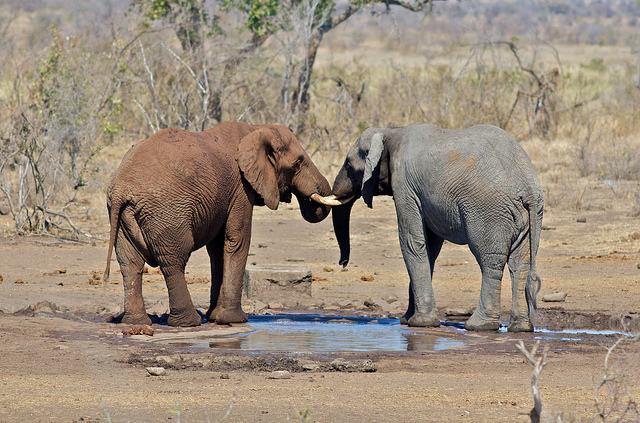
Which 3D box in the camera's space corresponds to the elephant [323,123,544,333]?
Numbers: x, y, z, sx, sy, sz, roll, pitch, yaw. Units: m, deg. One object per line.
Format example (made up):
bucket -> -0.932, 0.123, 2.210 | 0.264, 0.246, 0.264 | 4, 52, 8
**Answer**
elephant -> 2.075, 0.248, 22.646 | 5.051, 3.641, 2.202 | 4, 4, 39
